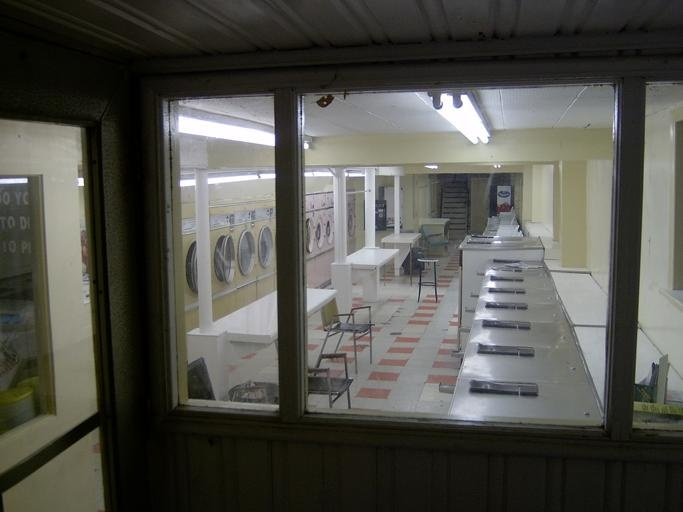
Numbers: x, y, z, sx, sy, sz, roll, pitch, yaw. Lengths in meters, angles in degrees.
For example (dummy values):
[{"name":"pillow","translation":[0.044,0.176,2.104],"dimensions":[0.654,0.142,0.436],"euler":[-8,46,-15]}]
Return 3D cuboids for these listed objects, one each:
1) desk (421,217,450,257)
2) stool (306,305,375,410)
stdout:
[{"name":"desk","translation":[2.904,-0.630,16.806],"dimensions":[0.818,1.191,2.517],"euler":[1,1,12]},{"name":"stool","translation":[-0.007,1.257,6.645],"dimensions":[0.361,0.601,1.329],"euler":[1,8,8]}]
